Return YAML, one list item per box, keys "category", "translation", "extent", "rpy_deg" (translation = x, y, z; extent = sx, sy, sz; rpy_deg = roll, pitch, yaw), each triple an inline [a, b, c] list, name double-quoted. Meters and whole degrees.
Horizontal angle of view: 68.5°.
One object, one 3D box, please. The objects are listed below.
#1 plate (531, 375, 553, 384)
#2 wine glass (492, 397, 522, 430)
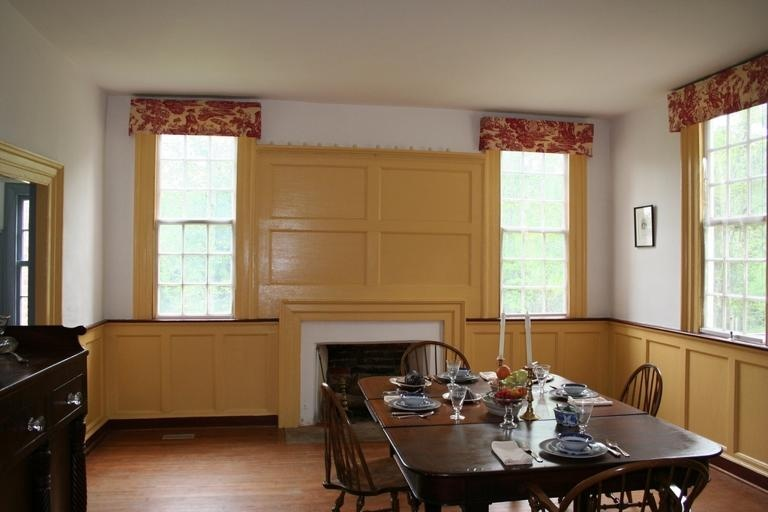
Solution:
- category: "plate"
  translation: [1.226, 0.966, 4.414]
  extent: [0.178, 0.045, 0.176]
  rpy_deg: [-2, -7, -8]
- category: "wine glass"
  translation: [0.826, 1.054, 3.775]
  extent: [0.198, 0.156, 0.193]
  rpy_deg: [2, -10, -8]
